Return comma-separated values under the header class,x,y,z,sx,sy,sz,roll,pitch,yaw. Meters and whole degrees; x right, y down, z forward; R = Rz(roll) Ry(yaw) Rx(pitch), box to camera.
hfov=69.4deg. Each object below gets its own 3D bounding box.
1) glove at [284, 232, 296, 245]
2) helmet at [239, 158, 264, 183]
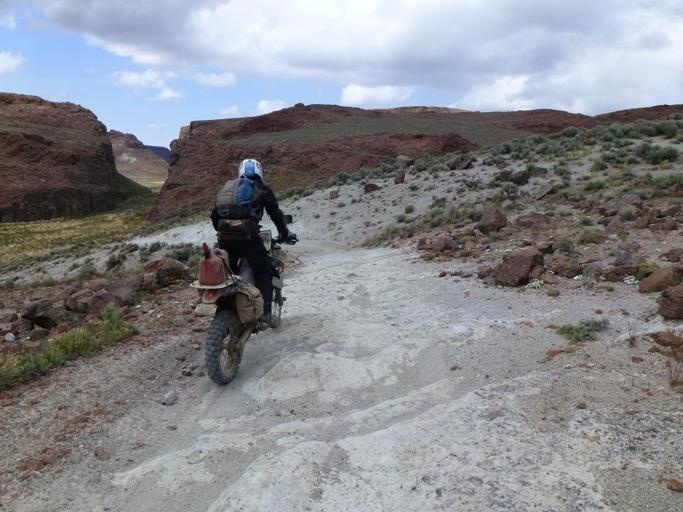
class,x,y,z,sx,sy,sz,roll,pitch,yaw
glove,-0.742,-0.241,8.223,0.199,0.187,0.315,1,10,3
helmet,-1.276,-1.362,7.707,0.331,0.181,0.448,-3,49,-5
